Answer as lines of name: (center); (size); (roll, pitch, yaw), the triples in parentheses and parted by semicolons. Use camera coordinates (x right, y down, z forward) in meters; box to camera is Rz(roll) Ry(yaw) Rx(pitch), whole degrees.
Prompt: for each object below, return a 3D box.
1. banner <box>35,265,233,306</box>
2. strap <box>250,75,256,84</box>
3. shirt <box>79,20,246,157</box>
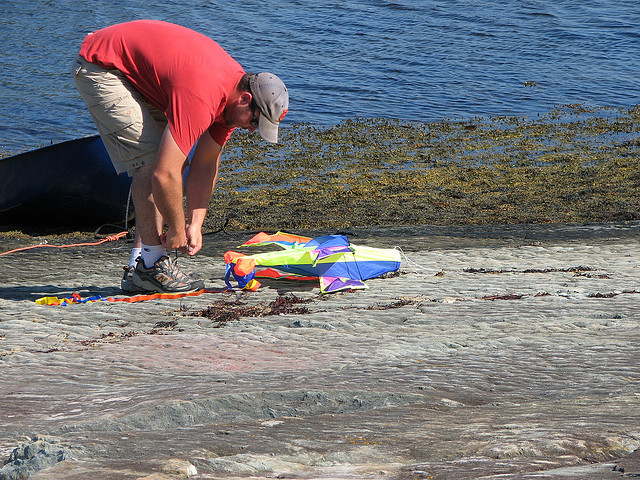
banner: (-2.280, 0.666, 14.879); (2.477, 0.226, 0.358); (-5, 31, -13)
strap: (-0.793, -1.861, 13.920); (0.085, 0.060, 0.021); (-6, -16, 33)
shirt: (-1.750, -1.838, 14.138); (1.077, 1.326, 1.784); (-27, 42, -34)
